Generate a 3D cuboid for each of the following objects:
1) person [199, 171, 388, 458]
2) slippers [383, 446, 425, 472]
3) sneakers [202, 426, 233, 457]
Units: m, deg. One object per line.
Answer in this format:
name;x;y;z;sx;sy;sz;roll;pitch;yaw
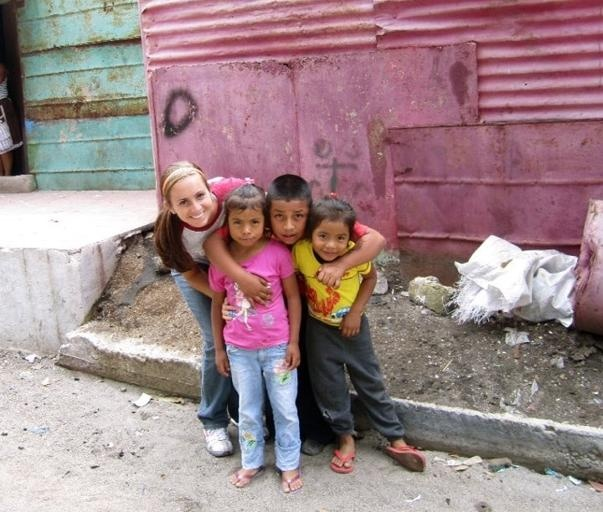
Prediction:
person;-0.023;0.343;2.475;0.864;1.465;0.344;-2;13;8
slippers;0.509;0.984;2.503;0.186;0.087;0.061;18;29;30
sneakers;-0.459;1.013;2.757;0.080;0.086;0.225;-1;4;-24
